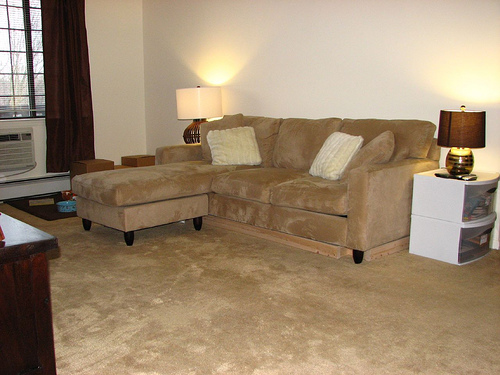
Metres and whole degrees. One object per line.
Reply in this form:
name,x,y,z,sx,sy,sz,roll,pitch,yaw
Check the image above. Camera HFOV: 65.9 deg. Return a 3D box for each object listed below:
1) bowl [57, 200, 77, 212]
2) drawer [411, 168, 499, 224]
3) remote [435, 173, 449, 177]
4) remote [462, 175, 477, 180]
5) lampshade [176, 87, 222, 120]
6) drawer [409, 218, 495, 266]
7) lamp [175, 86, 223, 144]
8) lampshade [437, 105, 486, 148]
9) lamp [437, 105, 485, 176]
bowl,-2.111,0.200,4.435,0.157,0.058,0.158,-1,10,0
drawer,1.646,0.068,3.165,0.437,0.304,0.573,8,13,40
remote,1.558,-0.105,3.144,0.100,0.014,0.111,6,14,25
remote,1.731,-0.080,3.045,0.131,0.019,0.055,-6,14,-25
lampshade,-0.673,-1.057,4.929,0.421,0.374,0.497,-1,13,4
drawer,1.627,0.442,3.195,0.409,0.244,0.509,9,13,43
lamp,-0.545,-0.950,5.179,0.676,0.996,0.681,0,5,1
lampshade,1.648,-0.460,3.072,0.333,0.328,0.345,-7,12,-40
lamp,1.715,-0.381,3.168,0.378,0.527,0.381,1,12,6
